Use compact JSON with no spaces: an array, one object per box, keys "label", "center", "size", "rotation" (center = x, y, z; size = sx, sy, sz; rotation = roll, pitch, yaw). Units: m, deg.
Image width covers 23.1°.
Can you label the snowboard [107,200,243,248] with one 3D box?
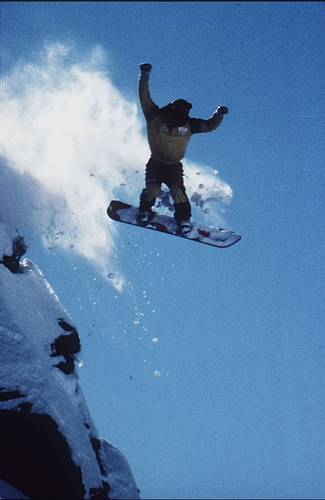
[{"label":"snowboard","center":[0.122,-0.491,13.683],"size":[2.693,0.480,0.383],"rotation":[15,-20,-5]}]
